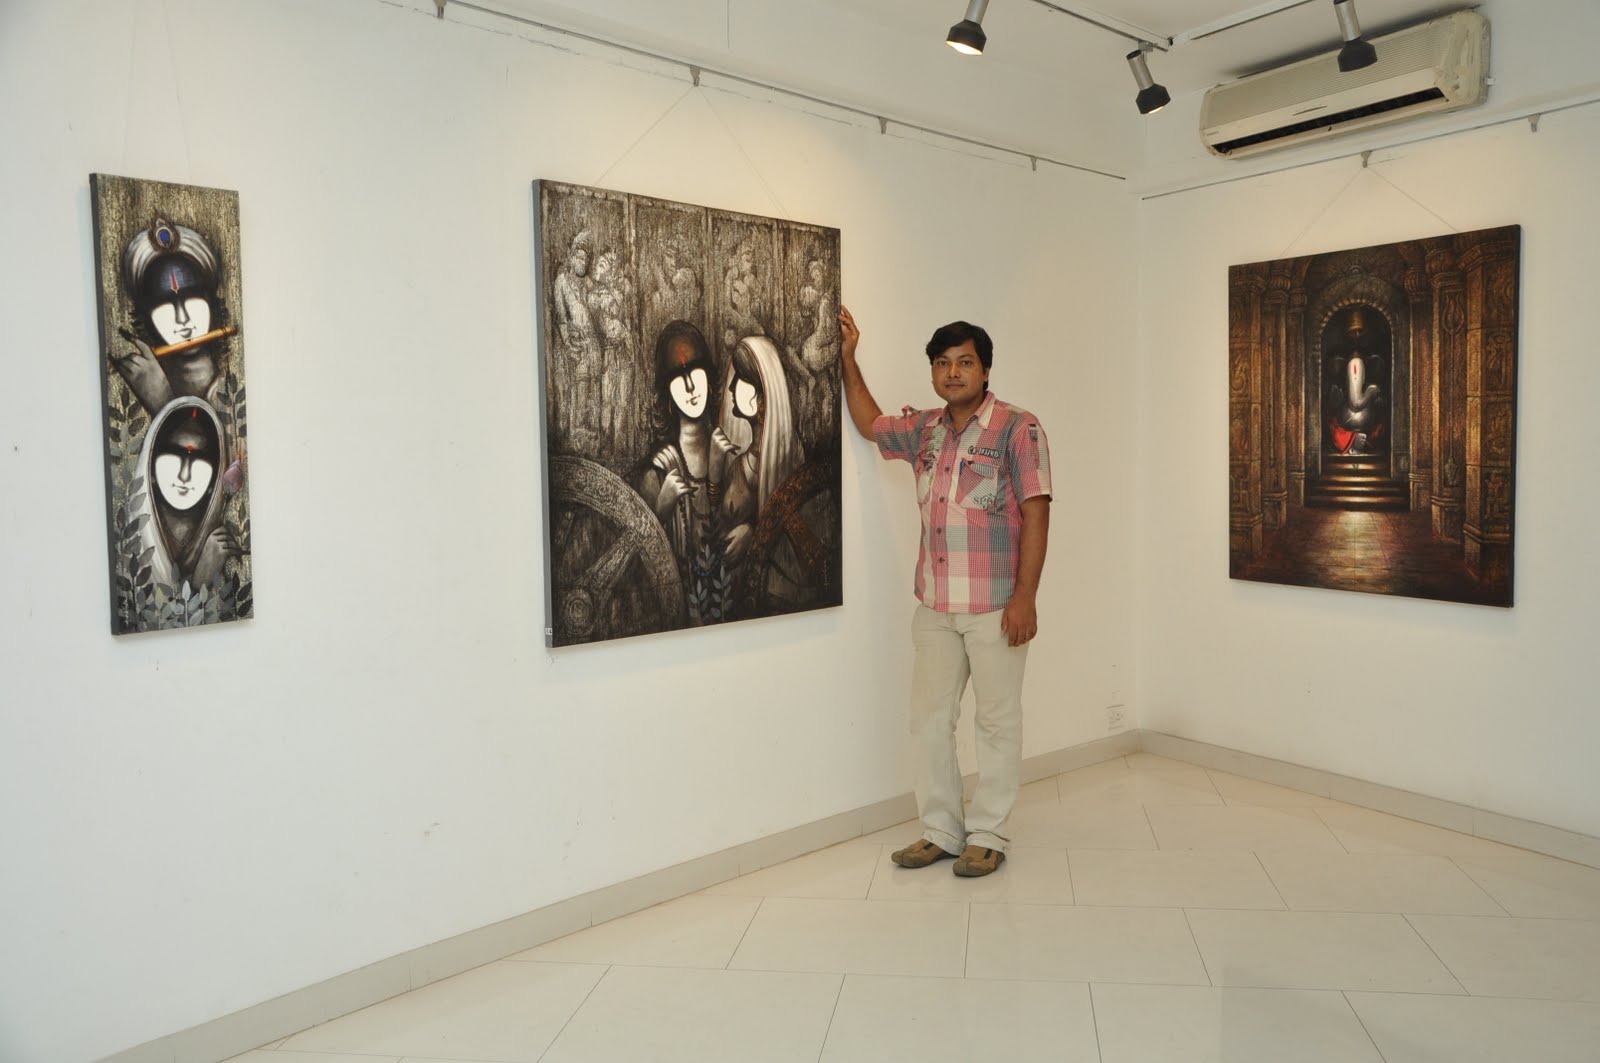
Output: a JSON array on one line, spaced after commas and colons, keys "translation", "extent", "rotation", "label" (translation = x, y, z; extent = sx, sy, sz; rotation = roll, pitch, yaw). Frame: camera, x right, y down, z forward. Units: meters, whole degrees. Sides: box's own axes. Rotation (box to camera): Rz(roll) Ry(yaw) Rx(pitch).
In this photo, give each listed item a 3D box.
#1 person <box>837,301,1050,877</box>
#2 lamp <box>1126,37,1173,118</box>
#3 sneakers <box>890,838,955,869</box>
[{"translation": [0.579, 0.265, 4.578], "extent": [0.777, 2.198, 0.584], "rotation": [7, 16, 29], "label": "person"}, {"translation": [1.470, -1.933, 4.674], "extent": [0.161, 0.277, 0.418], "rotation": [4, 16, 15], "label": "lamp"}, {"translation": [0.505, 1.354, 4.581], "extent": [0.193, 0.082, 0.111], "rotation": [5, -4, -11], "label": "sneakers"}]
